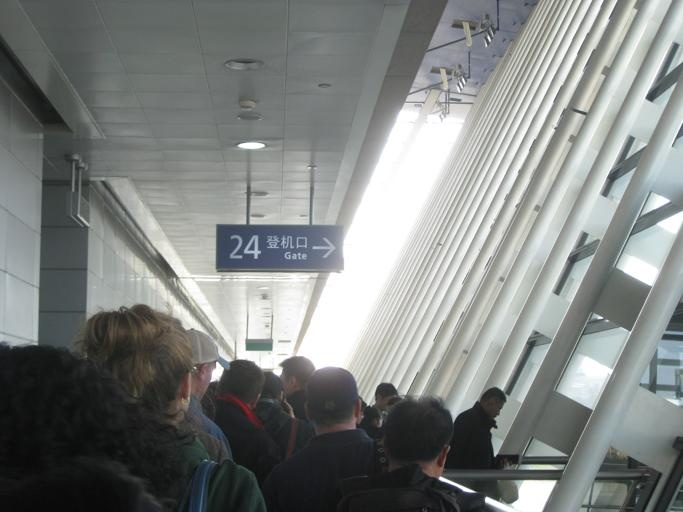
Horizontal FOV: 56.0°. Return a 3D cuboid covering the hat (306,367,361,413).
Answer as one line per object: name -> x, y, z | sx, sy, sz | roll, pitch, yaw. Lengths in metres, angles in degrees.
hat -> -0.040, 0.567, 2.786 | 0.246, 0.184, 0.400 | 0, -6, 0
